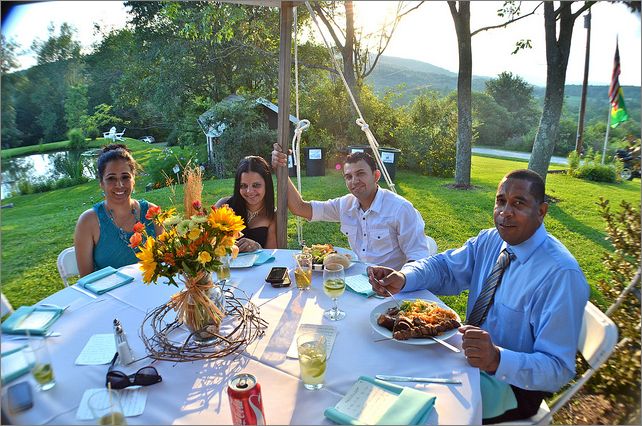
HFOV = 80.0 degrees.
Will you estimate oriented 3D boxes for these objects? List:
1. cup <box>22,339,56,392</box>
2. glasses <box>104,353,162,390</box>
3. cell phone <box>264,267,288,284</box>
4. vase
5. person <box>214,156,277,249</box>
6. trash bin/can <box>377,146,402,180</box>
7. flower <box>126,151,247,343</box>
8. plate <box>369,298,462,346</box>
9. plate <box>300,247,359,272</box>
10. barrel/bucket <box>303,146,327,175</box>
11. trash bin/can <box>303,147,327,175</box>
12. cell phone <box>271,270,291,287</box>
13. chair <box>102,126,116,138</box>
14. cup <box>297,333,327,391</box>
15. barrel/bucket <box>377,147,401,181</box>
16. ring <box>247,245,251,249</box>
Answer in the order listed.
[{"bbox_3d":[-1.821,0.976,2.474,0.198,0.318,0.110,7,12,34],"label":"cup"},{"bbox_3d":[-1.222,1.074,2.476,0.359,0.114,0.084,0,10,-8],"label":"glasses"},{"bbox_3d":[-0.382,0.536,3.305,0.103,0.043,0.171,1,22,3],"label":"cell phone"},{"bbox_3d":[-0.866,0.688,2.860,0.297,0.494,0.277,-1,14,-41],"label":"vase"},{"bbox_3d":[-0.761,-0.134,4.267,0.562,1.180,0.825,1,-3,0],"label":"person"},{"bbox_3d":[2.212,-1.615,12.256,0.836,1.253,0.932,5,15,30],"label":"trash bin/can"},{"bbox_3d":[-0.972,0.414,3.161,0.878,1.146,0.895,-6,0,-18],"label":"flower"},{"bbox_3d":[0.732,0.723,2.852,0.550,0.289,0.558,3,10,26],"label":"plate"},{"bbox_3d":[0.063,0.355,3.577,0.515,0.211,0.484,-4,10,-11],"label":"plate"},{"bbox_3d":[-0.204,-1.789,12.742,0.721,0.954,0.838,0,16,-1],"label":"barrel/bucket"},{"bbox_3d":[-0.238,-1.810,12.856,0.778,0.928,0.813,0,17,-3],"label":"trash bin/can"},{"bbox_3d":[-0.351,0.563,3.274,0.115,0.050,0.177,1,32,0],"label":"cell phone"},{"bbox_3d":[-10.364,-3.979,18.603,0.460,0.666,2.407,-5,11,-30],"label":"chair"},{"bbox_3d":[-0.064,0.966,2.482,0.186,0.307,0.184,1,10,0],"label":"cup"},{"bbox_3d":[2.047,-1.554,11.814,0.842,1.235,0.868,-2,11,0],"label":"barrel/bucket"},{"bbox_3d":[-0.741,0.345,3.908,0.042,0.043,0.012,-2,1,-28],"label":"ring"}]
